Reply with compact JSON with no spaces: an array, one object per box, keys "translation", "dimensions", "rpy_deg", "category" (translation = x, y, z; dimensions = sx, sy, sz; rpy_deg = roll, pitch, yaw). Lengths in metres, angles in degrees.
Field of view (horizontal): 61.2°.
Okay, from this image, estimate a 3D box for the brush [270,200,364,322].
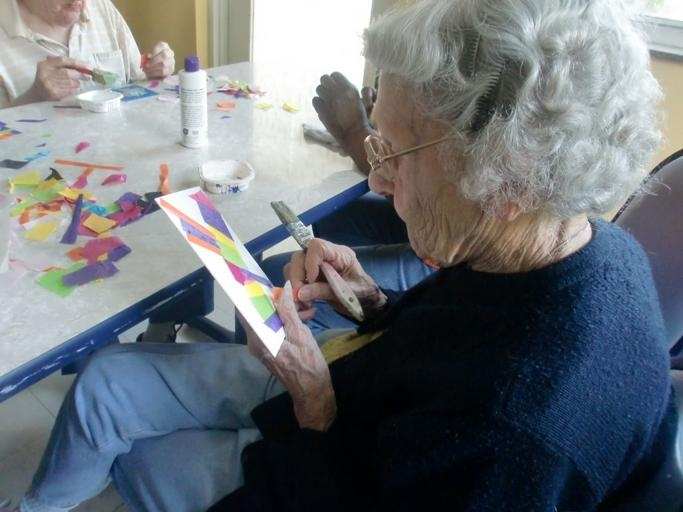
[{"translation":[-0.060,0.014,1.530],"dimensions":[0.068,0.039,0.463],"rpy_deg":[18,30,-54],"category":"brush"}]
